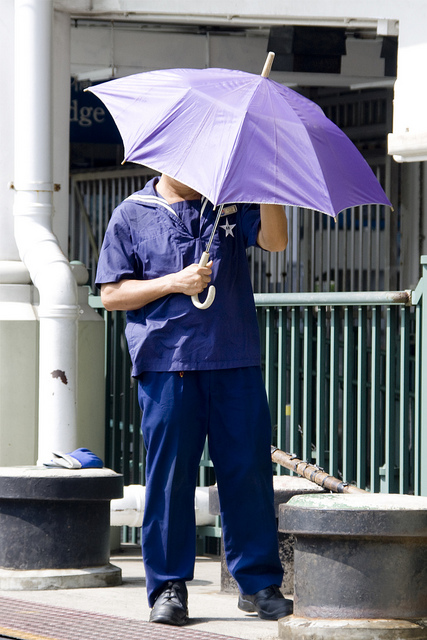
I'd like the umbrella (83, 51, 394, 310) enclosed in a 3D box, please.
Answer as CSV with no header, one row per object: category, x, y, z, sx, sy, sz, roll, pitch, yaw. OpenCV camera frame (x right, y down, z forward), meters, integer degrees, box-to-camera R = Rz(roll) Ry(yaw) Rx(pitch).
umbrella,0.171,-0.413,7.234,1.168,1.296,1.260,14,8,10

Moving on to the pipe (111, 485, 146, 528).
pipe,-0.451,0.988,9.260,0.174,0.199,0.314,-1,2,-4

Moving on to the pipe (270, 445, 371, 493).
pipe,0.508,0.704,8.266,0.081,0.100,0.576,-31,34,-19
